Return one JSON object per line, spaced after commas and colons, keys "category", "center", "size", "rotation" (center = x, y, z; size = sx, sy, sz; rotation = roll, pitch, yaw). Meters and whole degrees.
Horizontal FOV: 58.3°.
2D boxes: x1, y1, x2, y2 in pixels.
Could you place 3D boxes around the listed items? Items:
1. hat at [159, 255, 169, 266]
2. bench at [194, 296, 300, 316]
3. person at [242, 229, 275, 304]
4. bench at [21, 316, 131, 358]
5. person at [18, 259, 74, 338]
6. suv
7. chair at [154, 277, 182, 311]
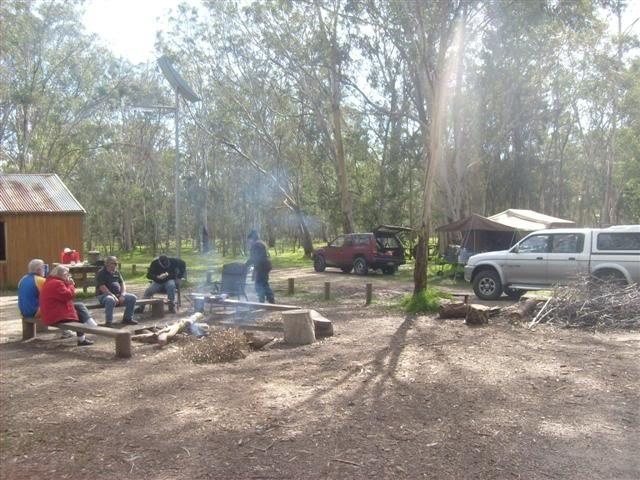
{"category": "hat", "center": [-4.160, 0.490, 15.320], "size": [0.194, 0.282, 0.274], "rotation": [-28, -12, -27]}
{"category": "bench", "center": [-2.099, 1.629, 14.472], "size": [1.518, 0.417, 4.220], "rotation": [-3, -1, -38]}
{"category": "person", "center": [-1.700, 0.745, 16.293], "size": [0.694, 1.803, 1.073], "rotation": [-3, 1, -7]}
{"category": "bench", "center": [-5.016, 1.972, 11.675], "size": [3.162, 0.788, 0.560], "rotation": [-4, 0, 28]}
{"category": "person", "center": [-5.969, 1.352, 12.488], "size": [0.690, 1.970, 0.972], "rotation": [-12, 0, 23]}
{"category": "suv", "center": [1.678, 0.469, 27.274], "size": [1.984, 2.518, 5.010], "rotation": [-1, 2, -42]}
{"category": "chair", "center": [-3.930, 1.465, 15.398], "size": [0.684, 1.134, 0.692], "rotation": [-1, -6, 6]}
